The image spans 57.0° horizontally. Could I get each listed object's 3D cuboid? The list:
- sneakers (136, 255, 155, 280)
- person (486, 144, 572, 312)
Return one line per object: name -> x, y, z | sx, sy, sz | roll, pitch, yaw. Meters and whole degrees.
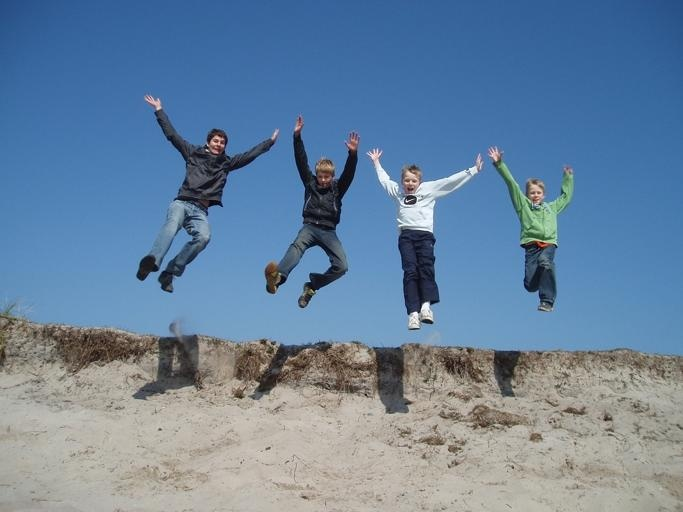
sneakers -> -2.806, 0.156, 9.068 | 0.149, 0.421, 0.184 | 29, -1, -1
person -> 3.585, -0.427, 11.542 | 1.515, 2.994, 0.744 | 4, -16, 3
